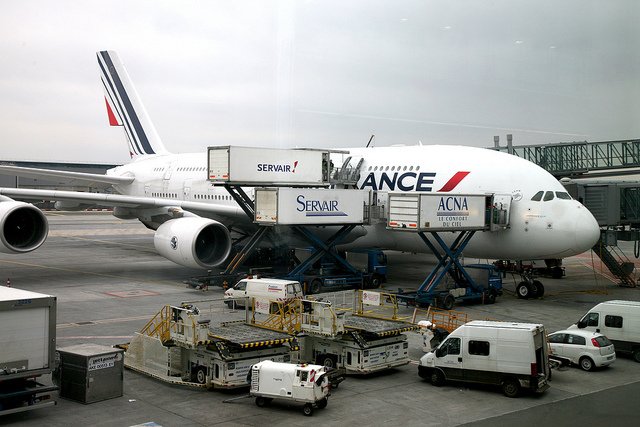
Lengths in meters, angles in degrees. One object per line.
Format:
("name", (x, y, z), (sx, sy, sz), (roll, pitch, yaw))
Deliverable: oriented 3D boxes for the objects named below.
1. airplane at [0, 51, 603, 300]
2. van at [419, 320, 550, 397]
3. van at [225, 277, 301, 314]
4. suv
("airplane", (-0.864, -0.764, 26.416), (20.016, 5.517, 15.157), (4, 6, 32))
("van", (4.681, 3.854, 16.239), (1.755, 1.485, 3.610), (5, -10, -41))
("van", (-2.051, 2.823, 21.129), (2.666, 0.772, 1.281), (2, 0, 38))
("suv", (7.396, 3.929, 17.821), (1.253, 0.792, 2.267), (-1, 1, -41))
